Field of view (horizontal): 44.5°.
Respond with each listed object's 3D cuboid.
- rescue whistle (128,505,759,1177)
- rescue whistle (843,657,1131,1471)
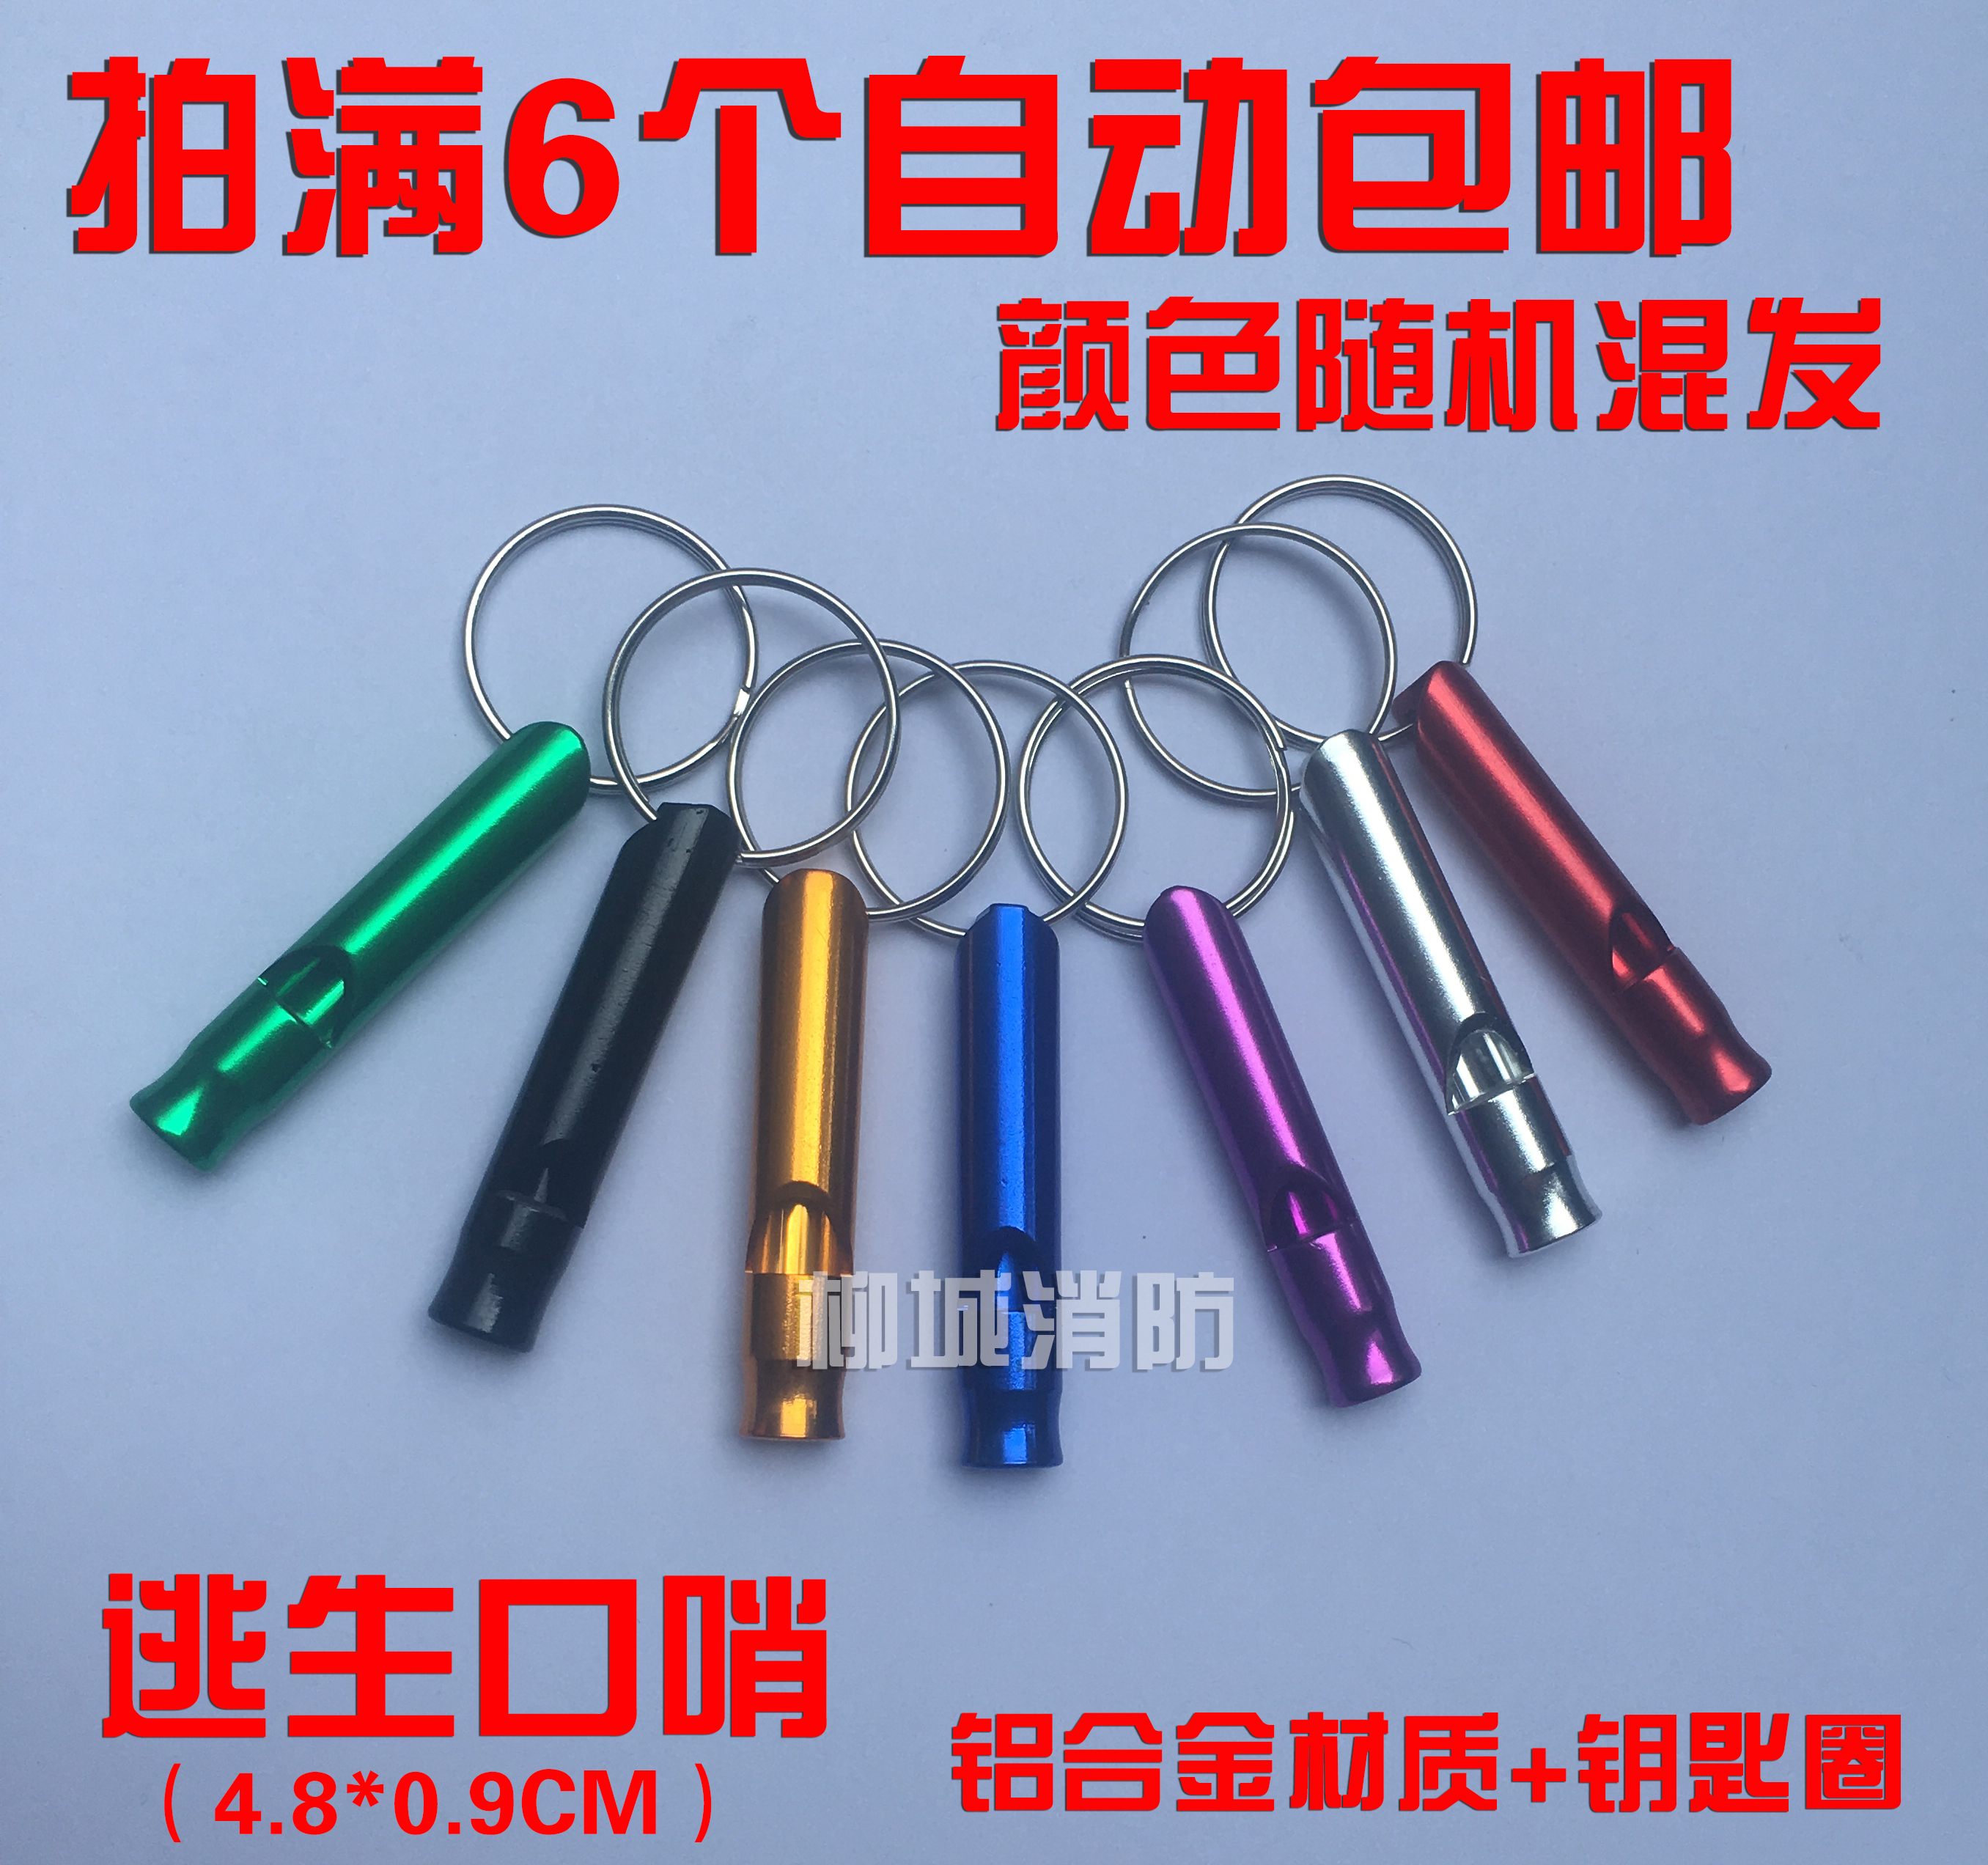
[{"bbox_3d":[-0.494,-0.041,2.044,0.230,0.549,0.087,43,-14,-24],"label":"rescue whistle"},{"bbox_3d":[0.034,0.105,2.142,0.224,0.719,0.098,0,-6,0],"label":"rescue whistle"}]
